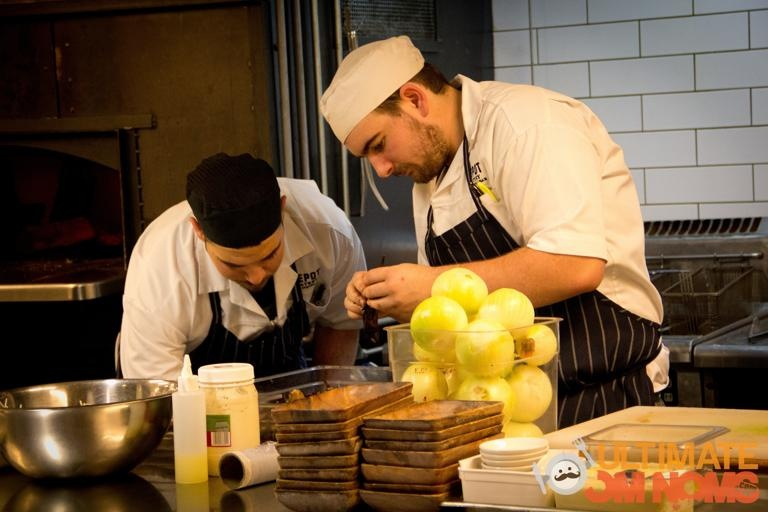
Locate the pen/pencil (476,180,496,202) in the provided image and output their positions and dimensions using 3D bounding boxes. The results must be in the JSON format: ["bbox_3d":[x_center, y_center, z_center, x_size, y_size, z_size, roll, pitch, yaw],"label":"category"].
[{"bbox_3d":[0.314,-0.203,2.532,0.029,0.094,0.027,-42,-10,20],"label":"pen/pencil"}]

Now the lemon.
[{"bbox_3d":[0.234,0.187,2.051,0.324,0.518,0.345,-3,1,-28],"label":"lemon"}]

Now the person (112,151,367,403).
[{"bbox_3d":[-0.543,0.057,3.107,0.843,0.939,1.291,-6,-18,-20],"label":"person"}]

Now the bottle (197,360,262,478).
[{"bbox_3d":[-0.401,0.429,2.147,0.150,0.265,0.156,-5,-9,-1],"label":"bottle"}]

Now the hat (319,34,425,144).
[{"bbox_3d":[0.040,-0.581,2.790,0.452,0.289,0.340,-14,1,2],"label":"hat"}]

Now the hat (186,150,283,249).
[{"bbox_3d":[-0.497,-0.203,2.730,0.234,0.342,0.178,-12,-42,-7],"label":"hat"}]
